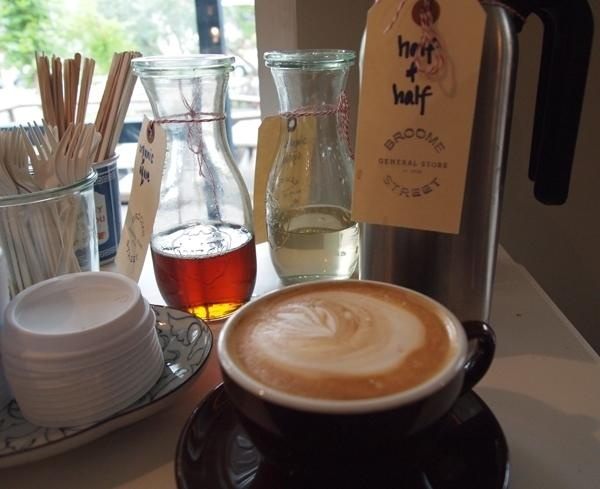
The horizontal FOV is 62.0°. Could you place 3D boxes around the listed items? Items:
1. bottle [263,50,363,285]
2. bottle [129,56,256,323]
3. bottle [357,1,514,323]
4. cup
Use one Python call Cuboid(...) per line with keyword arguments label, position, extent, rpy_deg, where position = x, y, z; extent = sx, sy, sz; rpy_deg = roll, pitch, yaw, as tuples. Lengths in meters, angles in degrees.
Cuboid(label="bottle", position=(0.016, -0.093, 0.676), extent=(0.126, 0.310, 0.094), rpy_deg=(-2, 19, -4))
Cuboid(label="bottle", position=(-0.143, -0.056, 0.686), extent=(0.135, 0.371, 0.134), rpy_deg=(-1, 16, 0))
Cuboid(label="bottle", position=(0.141, -0.077, 0.541), extent=(0.153, 0.327, 0.066), rpy_deg=(8, 20, 22))
Cuboid(label="cup", position=(0.032, 0.112, 0.435), extent=(0.203, 0.100, 0.178), rpy_deg=(-6, 21, -15))
